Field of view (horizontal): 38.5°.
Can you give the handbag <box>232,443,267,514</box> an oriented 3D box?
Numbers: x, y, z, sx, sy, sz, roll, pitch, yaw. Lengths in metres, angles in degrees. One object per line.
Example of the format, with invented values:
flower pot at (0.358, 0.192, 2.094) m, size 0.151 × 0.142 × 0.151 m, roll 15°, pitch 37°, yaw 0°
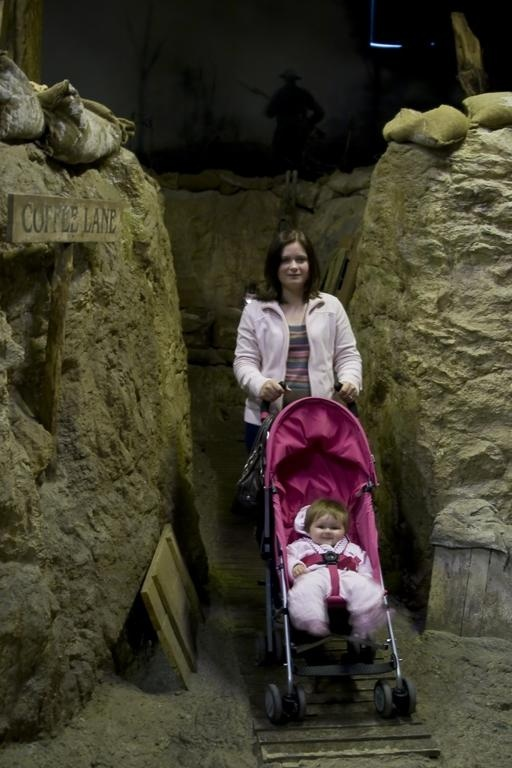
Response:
handbag at (-0.004, 0.402, 3.154) m, size 0.133 × 0.326 × 0.111 m, roll 11°, pitch -14°, yaw -19°
